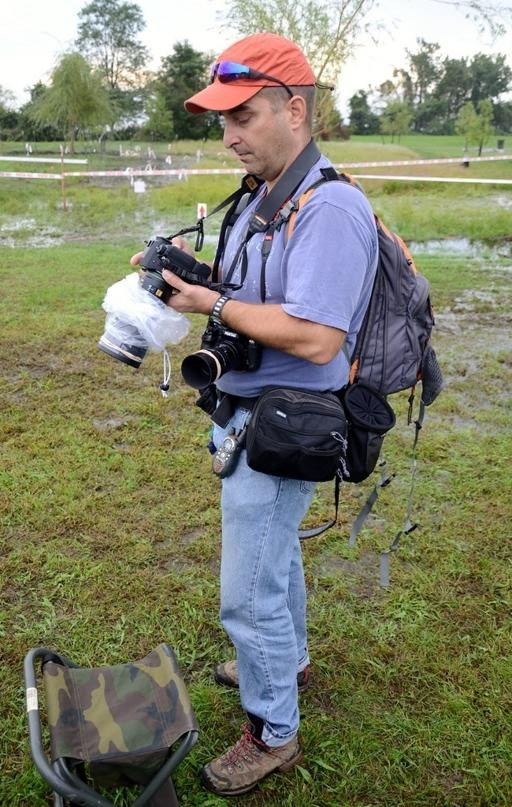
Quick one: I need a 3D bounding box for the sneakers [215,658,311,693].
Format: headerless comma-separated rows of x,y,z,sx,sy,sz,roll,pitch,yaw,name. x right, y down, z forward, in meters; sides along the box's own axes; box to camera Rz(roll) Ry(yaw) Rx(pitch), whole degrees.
0.033,1.007,2.432,0.365,0.154,0.133,6,-5,3,sneakers

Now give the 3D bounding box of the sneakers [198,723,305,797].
-0.033,1.127,2.038,0.362,0.173,0.137,-13,28,-26,sneakers

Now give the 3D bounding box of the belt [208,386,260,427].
-0.063,0.004,1.816,0.129,0.091,0.040,-24,-9,-44,belt

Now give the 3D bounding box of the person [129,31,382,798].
-0.021,0.065,1.919,0.741,2.067,0.735,1,12,4,person

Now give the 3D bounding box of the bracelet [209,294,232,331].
-0.099,-0.246,1.677,0.045,0.088,0.101,-4,14,-14,bracelet

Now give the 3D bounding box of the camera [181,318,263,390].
-0.087,-0.136,1.692,0.184,0.124,0.204,17,40,36,camera

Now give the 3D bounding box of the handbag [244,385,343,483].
0.115,0.083,1.684,0.287,0.244,0.233,13,22,5,handbag
